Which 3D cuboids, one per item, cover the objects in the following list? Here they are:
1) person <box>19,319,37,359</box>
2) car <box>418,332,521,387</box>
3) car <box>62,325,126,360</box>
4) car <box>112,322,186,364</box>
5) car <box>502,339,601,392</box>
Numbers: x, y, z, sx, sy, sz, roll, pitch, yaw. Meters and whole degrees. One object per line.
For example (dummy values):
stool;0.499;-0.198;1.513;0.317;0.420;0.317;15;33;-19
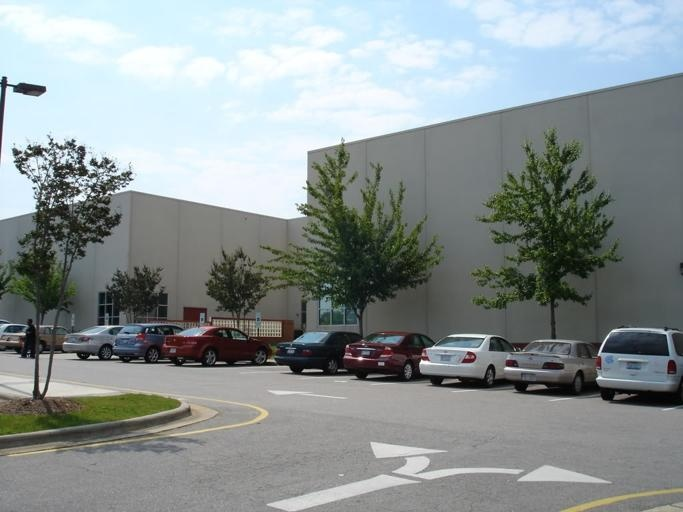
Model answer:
person;-15.693;4.184;31.204;0.843;0.949;2.585;-1;-36;-26
car;4.397;3.213;20.335;1.370;1.153;3.119;-3;-4;32
car;-12.562;4.342;31.495;3.467;1.286;1.461;3;-6;-45
car;-9.046;4.117;29.671;1.731;1.510;3.120;-4;-4;42
car;6.380;3.313;18.831;2.823;1.595;1.482;5;-8;-30
